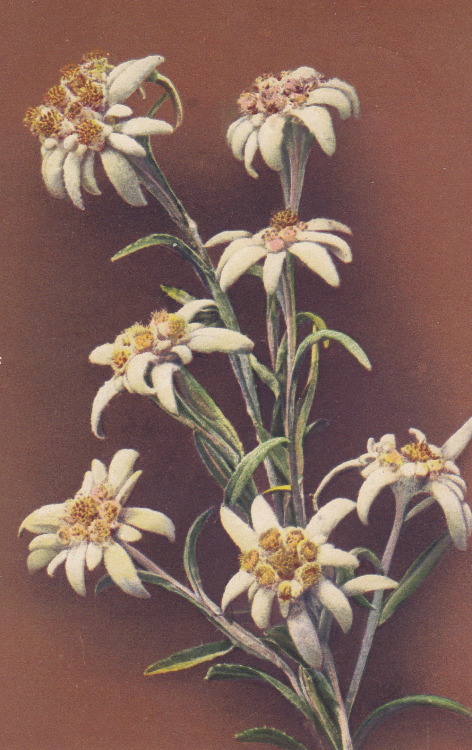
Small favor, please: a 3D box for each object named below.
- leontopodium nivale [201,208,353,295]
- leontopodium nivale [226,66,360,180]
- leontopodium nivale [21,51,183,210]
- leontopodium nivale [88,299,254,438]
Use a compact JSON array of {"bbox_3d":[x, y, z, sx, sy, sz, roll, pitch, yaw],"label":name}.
[{"bbox_3d":[0.092,-0.255,2.343,0.326,0.168,0.358,-3,1,12],"label":"leontopodium nivale"},{"bbox_3d":[0.120,-0.547,2.317,0.296,0.213,0.147,-6,19,8],"label":"leontopodium nivale"},{"bbox_3d":[-0.290,-0.553,2.474,0.442,0.247,0.446,-4,26,5],"label":"leontopodium nivale"},{"bbox_3d":[-0.135,-0.006,2.318,0.348,0.264,0.216,2,21,28],"label":"leontopodium nivale"}]
